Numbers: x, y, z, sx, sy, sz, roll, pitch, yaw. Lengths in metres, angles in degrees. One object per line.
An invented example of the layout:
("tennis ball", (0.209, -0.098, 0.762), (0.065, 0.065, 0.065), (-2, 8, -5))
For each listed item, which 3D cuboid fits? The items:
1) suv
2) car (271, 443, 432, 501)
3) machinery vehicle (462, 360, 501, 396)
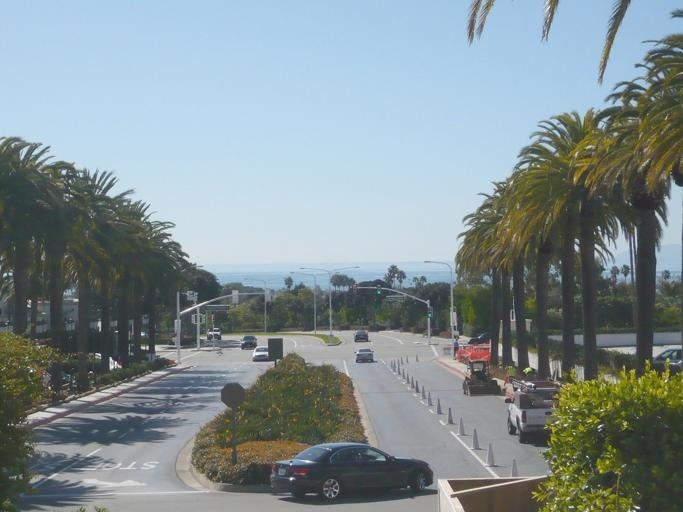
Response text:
("suv", (8.444, 6.797, 38.282), (1.769, 2.580, 5.590), (0, -7, -7))
("car", (0.541, 7.738, 31.248), (6.221, 1.766, 3.002), (0, -3, -11))
("machinery vehicle", (8.657, 7.584, 54.271), (2.056, 2.093, 2.317), (-2, -6, 4))
